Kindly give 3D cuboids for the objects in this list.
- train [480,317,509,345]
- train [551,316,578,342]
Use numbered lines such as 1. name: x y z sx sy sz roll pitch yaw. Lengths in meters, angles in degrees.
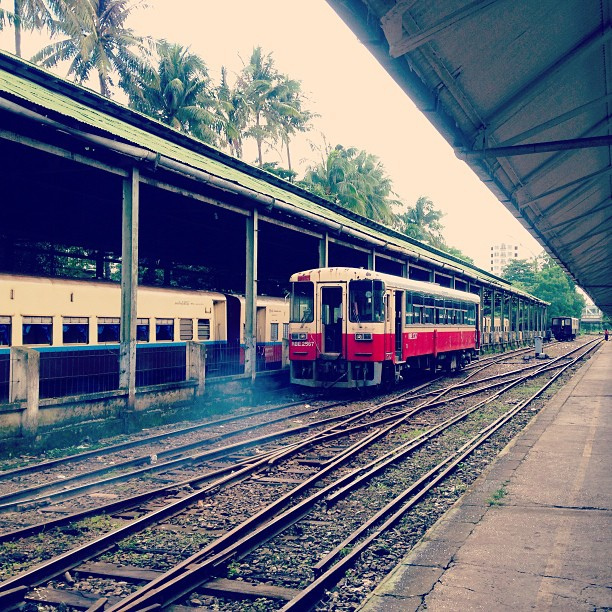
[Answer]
1. train: 12.827 1.719 44.188 1.007 1.917 6.700 -2 -7 17
2. train: 30.619 2.708 76.388 1.926 2.825 3.148 -2 -5 1
